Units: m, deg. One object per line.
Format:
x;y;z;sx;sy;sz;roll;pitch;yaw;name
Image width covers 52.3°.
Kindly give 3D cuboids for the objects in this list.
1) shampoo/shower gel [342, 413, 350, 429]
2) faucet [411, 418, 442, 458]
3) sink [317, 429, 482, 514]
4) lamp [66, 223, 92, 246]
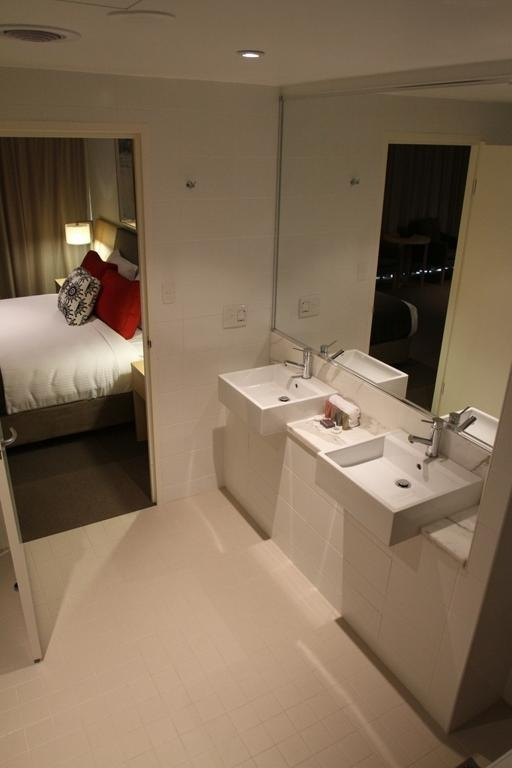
0.404;0.167;2.337;0.024;0.051;0.050;-12;31;-20;shampoo/shower gel
0.639;0.196;1.957;0.106;0.149;0.100;19;26;35;faucet
0.504;0.357;1.931;0.419;0.185;0.477;-7;25;-27;sink
-1.993;-1.653;5.895;0.250;0.226;0.292;5;32;0;lamp
